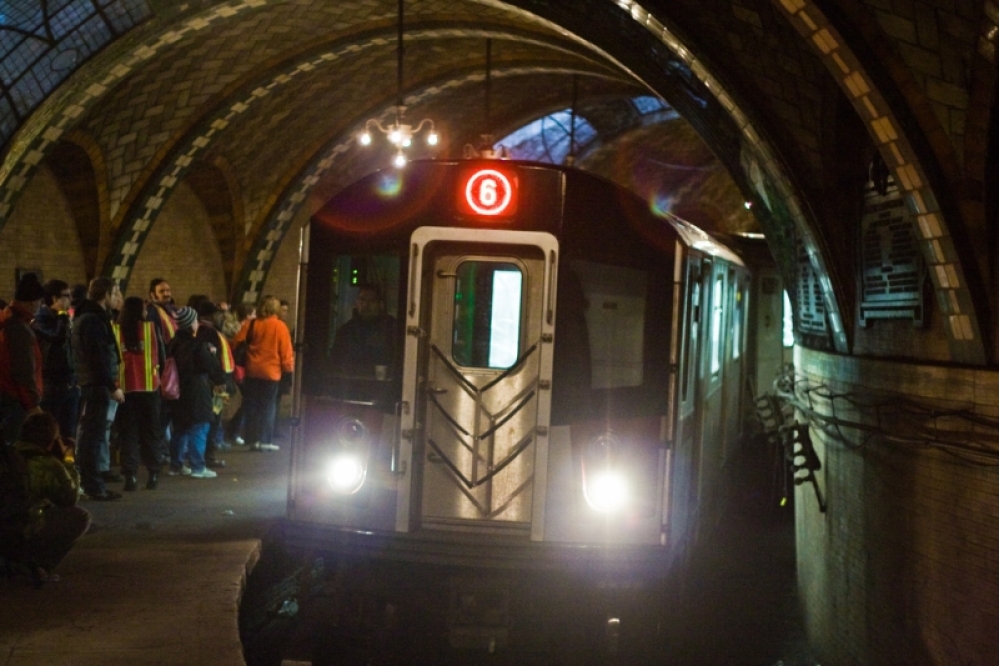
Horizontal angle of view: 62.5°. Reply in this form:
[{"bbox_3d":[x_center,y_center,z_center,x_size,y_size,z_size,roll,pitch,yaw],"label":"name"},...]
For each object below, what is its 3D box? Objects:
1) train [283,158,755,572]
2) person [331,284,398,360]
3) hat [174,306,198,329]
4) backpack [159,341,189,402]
[{"bbox_3d":[0.504,0.730,10.789,3.307,3.811,7.774,2,-5,11],"label":"train"},{"bbox_3d":[-1.164,-0.112,7.340,0.553,0.951,0.312,1,-7,41],"label":"person"},{"bbox_3d":[-3.819,-0.178,10.229,0.236,0.270,0.089,17,1,12],"label":"hat"},{"bbox_3d":[-4.012,0.561,10.129,0.397,0.994,0.326,1,2,-28],"label":"backpack"}]
